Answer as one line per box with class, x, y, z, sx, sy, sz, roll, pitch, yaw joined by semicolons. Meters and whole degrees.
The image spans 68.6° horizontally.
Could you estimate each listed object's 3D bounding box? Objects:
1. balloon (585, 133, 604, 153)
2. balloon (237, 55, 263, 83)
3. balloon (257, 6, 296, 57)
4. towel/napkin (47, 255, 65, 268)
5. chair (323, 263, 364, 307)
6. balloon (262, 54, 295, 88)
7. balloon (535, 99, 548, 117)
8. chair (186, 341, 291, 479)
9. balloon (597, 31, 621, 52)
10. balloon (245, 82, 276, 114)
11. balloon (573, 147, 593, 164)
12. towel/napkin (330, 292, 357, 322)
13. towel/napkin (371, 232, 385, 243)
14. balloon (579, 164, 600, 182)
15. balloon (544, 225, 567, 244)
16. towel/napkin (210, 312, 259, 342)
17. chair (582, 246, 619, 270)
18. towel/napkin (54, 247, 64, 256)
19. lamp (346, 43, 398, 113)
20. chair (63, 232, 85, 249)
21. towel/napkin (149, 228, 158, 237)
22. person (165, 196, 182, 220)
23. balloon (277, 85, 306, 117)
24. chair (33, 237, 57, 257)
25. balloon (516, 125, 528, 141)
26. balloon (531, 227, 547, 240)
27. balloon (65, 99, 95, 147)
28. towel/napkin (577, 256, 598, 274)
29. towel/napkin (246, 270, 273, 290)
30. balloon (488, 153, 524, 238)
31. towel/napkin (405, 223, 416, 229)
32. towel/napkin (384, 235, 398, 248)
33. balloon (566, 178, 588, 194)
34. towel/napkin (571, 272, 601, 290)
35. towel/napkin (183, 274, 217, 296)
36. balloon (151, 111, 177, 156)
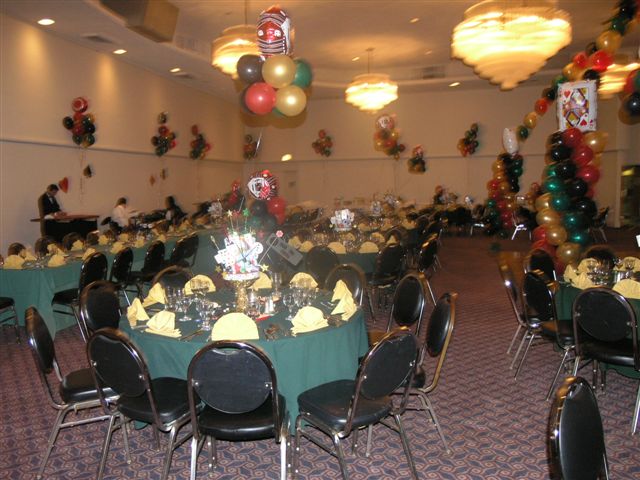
balloon;3.707;-1.307;6.278;0.337;0.266;0.150;-4;7;-13
balloon;-0.740;-1.831;5.077;0.279;0.329;0.280;3;15;7
balloon;-0.467;-2.216;4.974;0.356;0.543;0.525;1;38;4
towel/napkin;-3.563;0.281;6.361;0.166;0.072;0.203;0;7;-8
chair;0.337;0.439;4.983;0.404;0.529;0.419;2;6;26
balloon;-0.403;-1.761;5.001;0.320;0.378;0.315;17;49;13
balloon;3.826;-2.291;8.073;0.211;0.258;0.332;1;7;24
chair;-0.578;1.141;3.249;0.664;1.035;0.351;-2;7;2
balloon;3.904;-2.664;6.275;0.304;0.270;0.183;-3;7;-2
balloon;-0.617;-1.527;5.127;0.316;0.372;0.312;-3;32;-2
balloon;3.496;-1.103;6.254;0.211;0.247;0.214;-8;-13;40
towel/napkin;0.223;0.591;4.055;0.220;0.163;0.086;-5;-29;25
towel/napkin;0.988;-0.050;7.889;0.186;0.187;0.138;2;-21;46
balloon;3.641;-0.879;6.313;0.221;0.234;0.272;22;-24;39
balloon;3.178;-0.058;6.332;0.229;0.272;0.229;-4;38;31
towel/napkin;-0.640;0.653;3.490;0.364;0.205;0.253;-4;7;-12
chair;3.232;0.207;5.430;0.211;0.216;0.205;17;-11;2
towel/napkin;-3.726;0.158;6.733;0.093;0.041;0.123;16;-10;20
lamp;1.303;-3.944;12.272;1.667;1.905;1.687;0;3;3
chair;-3.969;0.007;7.567;0.299;0.228;0.306;9;7;15
towel/napkin;-3.231;-0.138;9.106;0.177;0.043;0.177;14;52;9
person;-3.965;-0.895;12.711;0.417;0.686;2.627;-5;6;-18
balloon;-0.288;-1.504;5.178;0.310;0.365;0.312;1;7;8
chair;-3.985;0.090;6.802;0.337;0.300;0.343;2;1;25
balloon;4.043;-2.098;9.284;0.200;0.268;0.197;11;-15;-42
balloon;3.061;-0.095;6.525;0.147;0.142;0.146;-19;15;-17
balloon;-5.188;-2.559;10.058;0.428;1.058;0.627;4;10;42
towel/napkin;2.900;0.265;5.064;0.146;0.151;0.174;-1;-2;23
towel/napkin;-0.571;0.408;4.816;0.185;0.186;0.055;8;1;-26
balloon;4.192;-1.085;10.658;0.706;1.866;0.505;1;8;23
towel/napkin;1.824;-0.295;9.459;0.155;0.090;0.279;2;9;11
towel/napkin;1.166;0.036;7.465;0.238;0.230;0.240;-1;-8;26
balloon;3.434;-0.706;6.248;0.178;0.183;0.237;-3;-6;-4
towel/napkin;2.719;0.410;4.838;0.243;0.130;0.317;-3;5;10
towel/napkin;-1.156;0.419;4.439;0.210;0.109;0.276;2;2;7
balloon;-4.449;-2.867;13.104;0.711;1.186;0.456;-8;-1;-38
